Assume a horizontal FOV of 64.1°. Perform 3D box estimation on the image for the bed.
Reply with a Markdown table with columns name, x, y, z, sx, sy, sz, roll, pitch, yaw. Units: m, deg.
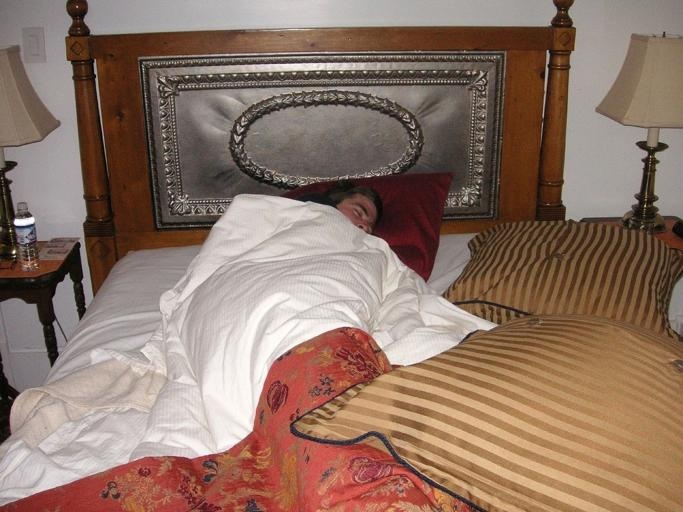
| name | x | y | z | sx | sy | sz | roll | pitch | yaw |
| --- | --- | --- | --- | --- | --- | --- | --- | --- | --- |
| bed | -0.037 | -0.105 | 1.735 | 1.954 | 1.362 | 0.184 | -1 | -3 | 1 |
